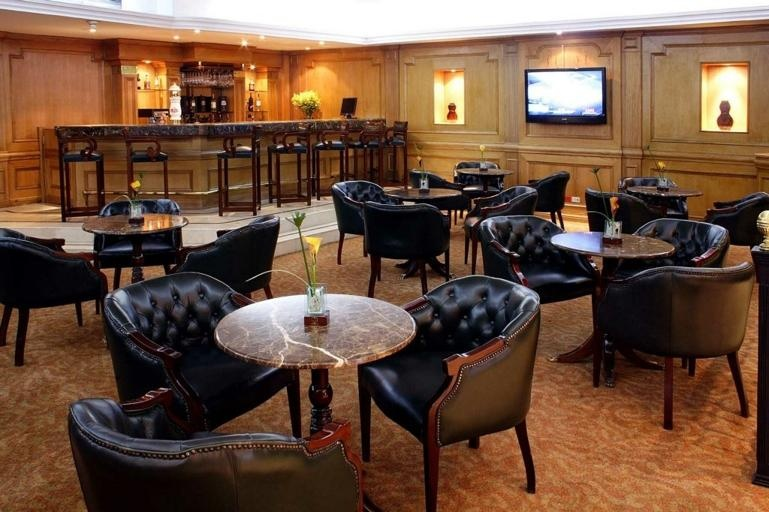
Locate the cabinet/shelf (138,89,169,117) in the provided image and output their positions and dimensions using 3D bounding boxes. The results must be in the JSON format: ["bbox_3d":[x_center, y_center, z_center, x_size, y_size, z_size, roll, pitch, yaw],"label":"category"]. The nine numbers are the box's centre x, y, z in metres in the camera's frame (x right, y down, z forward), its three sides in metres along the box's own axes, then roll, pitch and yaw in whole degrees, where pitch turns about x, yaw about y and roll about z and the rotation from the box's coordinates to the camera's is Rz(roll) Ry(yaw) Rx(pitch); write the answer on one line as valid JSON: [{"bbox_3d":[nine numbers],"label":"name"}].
[{"bbox_3d":[-4.485,-2.990,10.751,0.318,0.550,0.701,1,12,16],"label":"cabinet/shelf"}]

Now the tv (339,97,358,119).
[{"bbox_3d":[-0.756,-3.176,11.753,0.388,0.463,0.699,-3,12,-3],"label":"tv"}]

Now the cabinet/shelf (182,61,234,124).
[{"bbox_3d":[-3.609,-3.363,11.394,1.227,1.126,0.452,-13,16,-42],"label":"cabinet/shelf"}]

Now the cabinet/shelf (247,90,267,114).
[{"bbox_3d":[-2.857,-3.474,12.311,0.543,0.526,0.176,-2,11,-25],"label":"cabinet/shelf"}]

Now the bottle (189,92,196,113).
[{"bbox_3d":[-3.888,-3.102,11.273,0.111,0.317,0.074,-6,12,-18],"label":"bottle"}]
